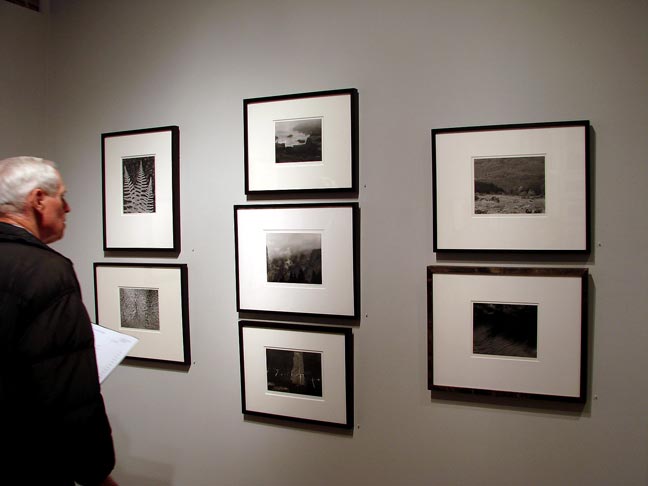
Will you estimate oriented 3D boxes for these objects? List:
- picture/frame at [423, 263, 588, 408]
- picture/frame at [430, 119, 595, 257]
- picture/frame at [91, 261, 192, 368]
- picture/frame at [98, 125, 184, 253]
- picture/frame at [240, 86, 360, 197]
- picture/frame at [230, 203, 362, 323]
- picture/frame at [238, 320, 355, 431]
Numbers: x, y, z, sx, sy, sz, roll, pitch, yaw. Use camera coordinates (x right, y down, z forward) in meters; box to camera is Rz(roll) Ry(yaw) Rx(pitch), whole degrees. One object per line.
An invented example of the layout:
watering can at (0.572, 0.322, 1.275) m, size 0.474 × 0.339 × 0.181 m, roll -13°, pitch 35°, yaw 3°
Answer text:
picture/frame at (0.800, 0.381, 2.137) m, size 0.520 × 0.509 × 0.025 m, roll 2°, pitch 4°, yaw 14°
picture/frame at (0.820, -0.233, 2.108) m, size 0.484 × 0.484 × 0.039 m, roll 1°, pitch 2°, yaw 9°
picture/frame at (-0.873, 0.351, 2.480) m, size 0.455 × 0.508 × 0.035 m, roll 2°, pitch 7°, yaw 20°
picture/frame at (-0.893, -0.267, 2.517) m, size 0.531 × 0.907 × 0.086 m, roll 1°, pitch 2°, yaw 11°
picture/frame at (-0.084, -0.456, 2.286) m, size 0.439 × 0.412 × 0.018 m, roll 0°, pitch 2°, yaw 20°
picture/frame at (-0.101, 0.086, 2.310) m, size 0.467 × 0.464 × 0.020 m, roll 1°, pitch 4°, yaw 15°
picture/frame at (-0.105, 0.603, 2.343) m, size 0.459 × 0.451 × 0.037 m, roll 1°, pitch 1°, yaw 18°
